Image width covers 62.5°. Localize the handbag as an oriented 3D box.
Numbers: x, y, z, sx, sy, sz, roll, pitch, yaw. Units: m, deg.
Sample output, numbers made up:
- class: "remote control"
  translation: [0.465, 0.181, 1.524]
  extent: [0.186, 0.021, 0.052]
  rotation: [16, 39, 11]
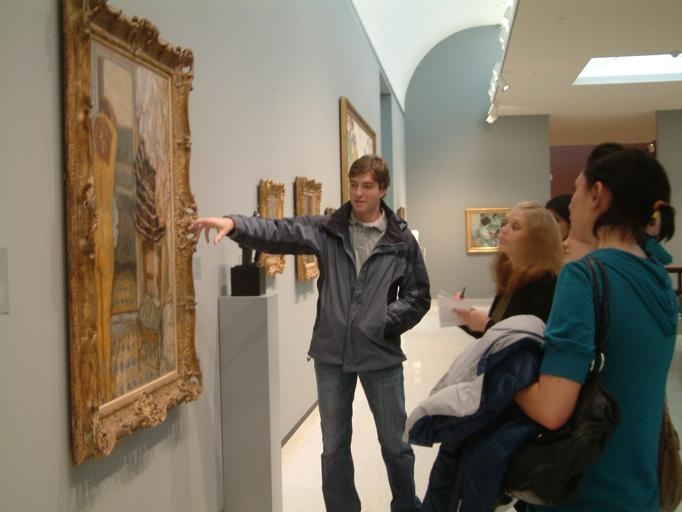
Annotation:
- class: "handbag"
  translation: [1.046, 0.618, 2.653]
  extent: [0.480, 1.178, 0.248]
  rotation: [0, 5, -7]
